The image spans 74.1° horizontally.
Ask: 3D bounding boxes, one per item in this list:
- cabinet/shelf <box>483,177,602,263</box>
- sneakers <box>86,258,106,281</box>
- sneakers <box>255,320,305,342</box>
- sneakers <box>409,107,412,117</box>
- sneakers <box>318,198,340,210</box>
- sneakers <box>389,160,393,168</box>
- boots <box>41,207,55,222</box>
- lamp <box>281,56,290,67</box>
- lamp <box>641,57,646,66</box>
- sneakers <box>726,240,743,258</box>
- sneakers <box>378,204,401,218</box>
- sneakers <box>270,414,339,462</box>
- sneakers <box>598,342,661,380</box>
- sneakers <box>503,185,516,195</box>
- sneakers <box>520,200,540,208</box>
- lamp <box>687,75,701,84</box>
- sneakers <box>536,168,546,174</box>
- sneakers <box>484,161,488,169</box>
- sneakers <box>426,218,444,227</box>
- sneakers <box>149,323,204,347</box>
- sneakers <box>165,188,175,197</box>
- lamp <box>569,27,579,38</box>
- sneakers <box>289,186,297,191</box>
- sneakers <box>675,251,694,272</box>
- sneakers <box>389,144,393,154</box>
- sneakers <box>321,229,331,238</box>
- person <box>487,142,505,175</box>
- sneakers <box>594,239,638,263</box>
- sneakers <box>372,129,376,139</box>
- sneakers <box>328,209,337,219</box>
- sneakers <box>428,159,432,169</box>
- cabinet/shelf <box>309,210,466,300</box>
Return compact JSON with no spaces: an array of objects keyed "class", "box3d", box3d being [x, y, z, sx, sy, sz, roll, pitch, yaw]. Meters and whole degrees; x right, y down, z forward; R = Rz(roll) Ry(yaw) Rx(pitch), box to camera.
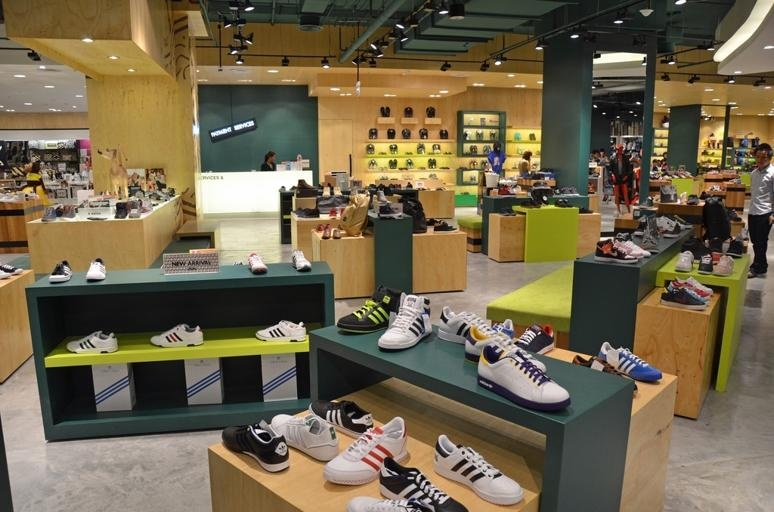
[{"class":"cabinet/shelf","box3d":[2.806,-0.509,9.109,2.038,1.101,0.899,-2,10,-4]},{"class":"sneakers","box3d":[-2.309,0.108,4.075,0.120,0.113,0.324,-1,6,-15]},{"class":"sneakers","box3d":[-0.858,0.615,4.198,0.406,0.176,0.158,3,0,-2]},{"class":"sneakers","box3d":[0.710,-4.554,16.180,0.143,0.284,0.253,2,11,15]},{"class":"sneakers","box3d":[-0.971,-0.857,8.528,0.235,0.138,0.399,-1,3,-10]},{"class":"sneakers","box3d":[0.112,-2.931,16.326,0.138,0.224,0.083,3,7,15]},{"class":"boots","box3d":[-4.338,-0.536,6.562,0.175,0.164,0.369,-8,12,-31]},{"class":"lamp","box3d":[-2.572,-4.941,12.958,0.218,0.286,0.587,-3,10,-11]},{"class":"lamp","box3d":[5.828,-4.417,11.641,0.059,0.189,0.194,1,10,10]},{"class":"sneakers","box3d":[3.495,-0.073,5.154,0.134,0.134,0.331,7,14,34]},{"class":"sneakers","box3d":[0.035,-0.599,6.685,0.283,0.187,0.363,-1,10,3]},{"class":"sneakers","box3d":[-0.431,0.975,2.865,0.446,0.160,0.177,18,9,33]},{"class":"sneakers","box3d":[1.485,0.671,3.232,0.165,0.161,0.449,2,5,-41]},{"class":"sneakers","box3d":[2.366,-1.281,9.914,0.140,0.169,0.410,3,0,30]},{"class":"sneakers","box3d":[2.513,-0.891,8.864,0.144,0.097,0.255,2,3,41]},{"class":"lamp","box3d":[9.091,-5.238,15.231,0.276,0.168,0.376,-2,8,37]},{"class":"sneakers","box3d":[3.558,-1.969,11.868,0.143,0.163,0.419,1,3,34]},{"class":"sneakers","box3d":[3.222,-2.966,16.682,0.101,0.288,0.123,4,-18,3]},{"class":"sneakers","box3d":[0.679,-0.487,7.338,0.253,0.088,0.138,5,7,32]},{"class":"sneakers","box3d":[-1.696,0.632,4.099,0.454,0.184,0.162,1,1,-5]},{"class":"sneakers","box3d":[-3.838,-1.121,9.067,0.179,0.117,0.303,0,12,-13]},{"class":"lamp","box3d":[3.826,-4.561,10.472,0.163,0.187,0.478,2,20,12]},{"class":"sneakers","box3d":[-2.012,-1.441,10.950,0.121,0.133,0.345,-1,9,-14]},{"class":"sneakers","box3d":[2.758,0.048,4.754,0.125,0.147,0.350,1,3,35]},{"class":"sneakers","box3d":[0.120,-3.398,16.235,0.084,0.221,0.096,-1,14,6]},{"class":"sneakers","box3d":[-0.806,-0.293,6.770,0.120,0.124,0.319,0,3,-3]},{"class":"person","box3d":[3.460,-3.085,16.237,0.462,1.029,1.700,1,10,15]},{"class":"sneakers","box3d":[1.928,-0.040,4.240,0.409,0.202,0.136,4,5,17]},{"class":"sneakers","box3d":[-0.401,-3.818,15.977,0.187,0.238,0.242,0,-5,-3]},{"class":"sneakers","box3d":[-0.850,-0.669,8.072,0.083,0.150,0.250,0,1,-5]},{"class":"sneakers","box3d":[1.382,-2.989,16.590,0.213,0.286,0.096,1,8,3]},{"class":"cabinet/shelf","box3d":[0.078,0.044,6.959,1.434,0.727,1.401,0,4,-16]}]
